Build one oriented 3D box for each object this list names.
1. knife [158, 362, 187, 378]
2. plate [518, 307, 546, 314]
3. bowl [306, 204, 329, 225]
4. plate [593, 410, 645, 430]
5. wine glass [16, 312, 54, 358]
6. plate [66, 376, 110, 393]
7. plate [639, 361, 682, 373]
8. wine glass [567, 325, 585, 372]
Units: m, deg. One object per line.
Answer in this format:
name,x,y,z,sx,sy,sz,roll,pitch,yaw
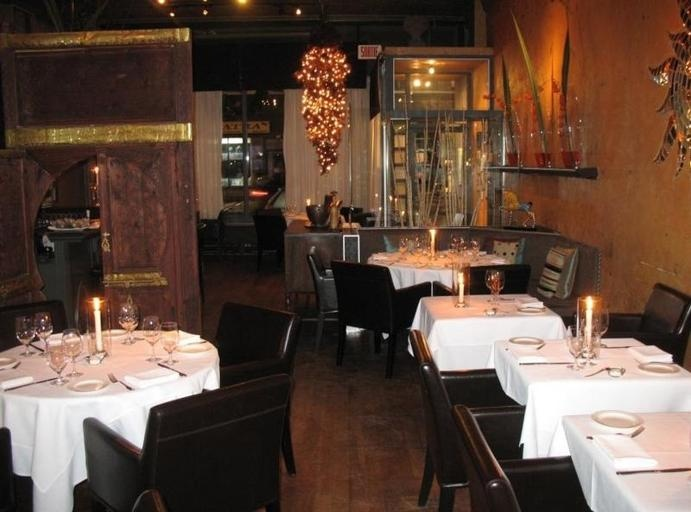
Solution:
knife,-1.058,0.671,3.831,0.076,0.032,0.290,-12,18,-41
plate,1.413,0.404,4.811,0.203,0.019,0.164,3,14,13
bowl,-0.365,-0.562,8.414,0.223,0.226,0.258,-2,1,-3
plate,1.346,0.814,3.151,0.224,0.033,0.149,-1,14,-3
wine glass,-1.981,0.509,4.037,0.180,0.298,0.230,3,3,27
plate,-1.471,0.730,3.628,0.231,0.024,0.190,7,15,26
plate,1.835,0.647,3.714,0.229,0.015,0.167,-2,14,-6
wine glass,1.380,0.535,3.795,0.098,0.214,0.198,5,14,21
